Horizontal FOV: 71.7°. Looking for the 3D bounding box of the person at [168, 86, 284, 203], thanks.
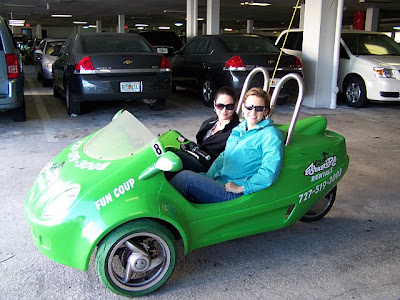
[{"bbox_3d":[0.045,-0.111,2.375,0.965,1.061,0.693,1,15,-10],"label":"person"}]
